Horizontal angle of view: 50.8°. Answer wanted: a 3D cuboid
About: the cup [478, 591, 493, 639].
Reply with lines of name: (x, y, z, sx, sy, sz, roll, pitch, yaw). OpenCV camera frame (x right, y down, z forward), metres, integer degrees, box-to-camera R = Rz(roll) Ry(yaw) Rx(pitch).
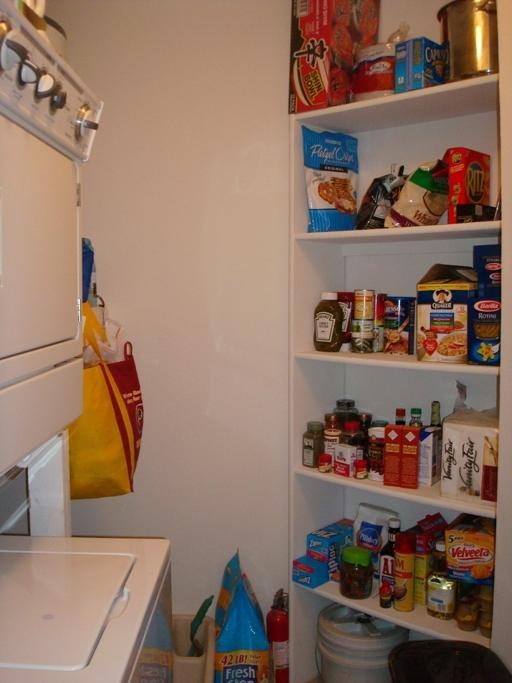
cup: (0.562, 0.657, 1.318, 0.030, 0.110, 0.048, -3, 3, 22)

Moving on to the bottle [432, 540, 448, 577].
bottle: (0.487, 0.575, 1.443, 0.033, 0.095, 0.081, -3, 3, 15)

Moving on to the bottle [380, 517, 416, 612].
bottle: (0.399, 0.610, 1.523, 0.107, 0.214, 0.187, -3, 3, 16)

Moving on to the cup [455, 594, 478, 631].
cup: (0.524, 0.672, 1.343, 0.047, 0.066, 0.064, 0, -1, 23)

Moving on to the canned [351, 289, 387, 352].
canned: (0.321, -0.060, 1.552, 0.102, 0.181, 0.086, -3, 3, 18)
